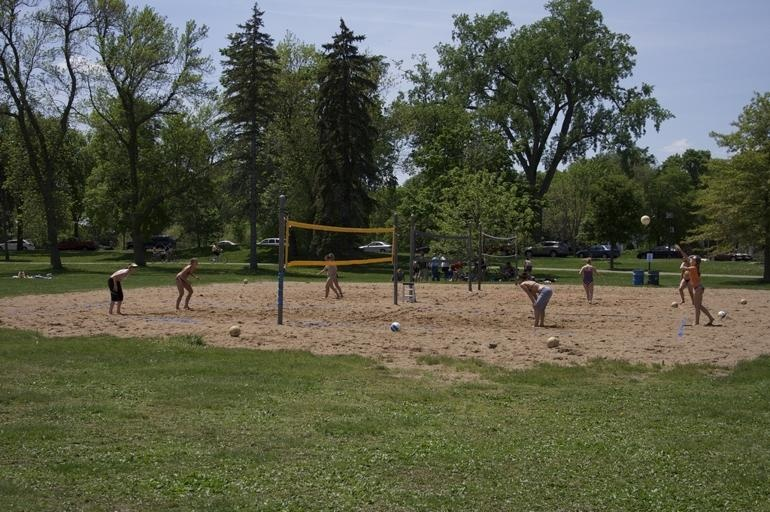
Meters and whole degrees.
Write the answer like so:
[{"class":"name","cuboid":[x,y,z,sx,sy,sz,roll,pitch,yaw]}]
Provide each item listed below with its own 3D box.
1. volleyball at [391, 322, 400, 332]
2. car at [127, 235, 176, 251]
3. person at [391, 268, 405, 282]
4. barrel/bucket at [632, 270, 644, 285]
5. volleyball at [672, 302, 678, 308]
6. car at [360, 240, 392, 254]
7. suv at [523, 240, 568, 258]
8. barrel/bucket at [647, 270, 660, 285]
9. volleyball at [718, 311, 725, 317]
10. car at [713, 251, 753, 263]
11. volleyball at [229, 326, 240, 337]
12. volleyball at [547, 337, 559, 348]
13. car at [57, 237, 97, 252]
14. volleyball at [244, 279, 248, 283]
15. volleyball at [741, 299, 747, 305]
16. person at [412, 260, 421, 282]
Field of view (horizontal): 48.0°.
[{"class":"volleyball","cuboid":[0.347,2.286,27.901,0.276,0.252,0.257,-1,4,1]},{"class":"car","cuboid":[-18.128,-1.034,67.381,2.435,0.938,2.341,0,-3,-3]},{"class":"person","cuboid":[0.621,0.881,39.747,0.588,0.419,1.337,12,-5,8]},{"class":"barrel/bucket","cuboid":[12.425,1.050,42.348,0.701,0.652,0.673,0,-2,0]},{"class":"volleyball","cuboid":[10.584,1.777,31.670,0.232,0.178,0.181,4,-4,-30]},{"class":"car","cuboid":[-0.525,-0.718,75.163,2.520,0.764,1.119,4,1,23]},{"class":"suv","cuboid":[13.678,-0.567,72.198,2.754,1.767,4.959,-2,10,20]},{"class":"barrel/bucket","cuboid":[13.237,1.084,42.418,0.696,0.676,0.670,-1,-1,0]},{"class":"volleyball","cuboid":[11.402,1.970,29.398,0.239,0.228,0.305,-1,1,40]},{"class":"car","cuboid":[28.829,0.094,72.016,2.877,0.730,1.705,3,2,44]},{"class":"volleyball","cuboid":[-4.653,2.314,27.026,0.313,0.286,0.300,-9,8,-2]},{"class":"volleyball","cuboid":[5.018,2.571,25.896,0.316,0.226,0.281,-4,-5,-1]},{"class":"car","cuboid":[-27.649,-0.978,78.158,3.079,1.268,4.565,-9,10,-18]},{"class":"volleyball","cuboid":[-6.631,1.205,41.514,0.187,0.143,0.209,-2,2,-29]},{"class":"volleyball","cuboid":[13.830,1.771,33.320,0.253,0.179,0.244,-3,7,11]},{"class":"person","cuboid":[1.759,0.727,46.033,0.296,0.886,1.063,-5,10,6]}]
